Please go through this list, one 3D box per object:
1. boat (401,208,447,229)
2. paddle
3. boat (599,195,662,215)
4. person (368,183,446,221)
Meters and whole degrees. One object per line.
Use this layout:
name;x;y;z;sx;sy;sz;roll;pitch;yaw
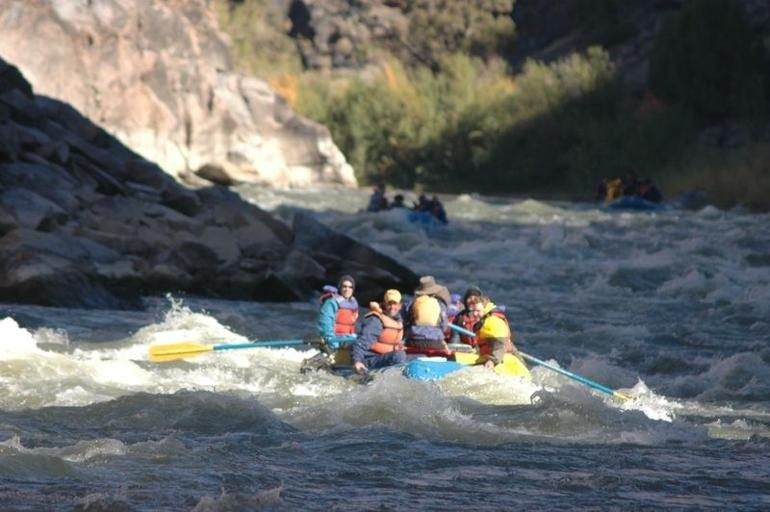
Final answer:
boat;1.033;-0.934;42.853;1.020;0.407;0.327;2;5;-29
paddle;-2.753;1.913;35.828;5.340;0.414;0.442;-1;-2;-4
boat;6.137;-1.267;42.945;1.435;0.395;0.219;4;4;4
person;0.547;-1.324;42.790;2.267;1.073;0.781;5;-12;-8
